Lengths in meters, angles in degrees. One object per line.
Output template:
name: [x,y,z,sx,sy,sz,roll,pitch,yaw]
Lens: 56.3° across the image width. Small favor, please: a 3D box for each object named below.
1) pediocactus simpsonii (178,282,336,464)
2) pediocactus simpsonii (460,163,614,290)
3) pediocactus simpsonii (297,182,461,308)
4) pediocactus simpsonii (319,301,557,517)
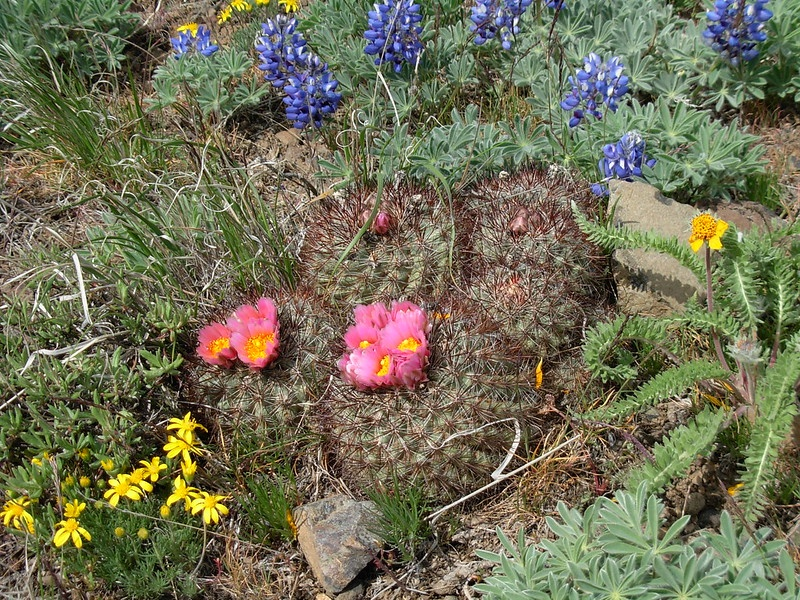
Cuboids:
pediocactus simpsonii: [-0.737,0.292,3.871,0.690,0.744,0.848,-6,101,-16]
pediocactus simpsonii: [0.694,-0.472,3.974,0.631,0.629,0.746,-14,108,-34]
pediocactus simpsonii: [-0.110,-0.423,4.193,0.816,0.856,0.545,-12,103,-13]
pediocactus simpsonii: [0.152,0.534,3.770,0.807,0.518,0.965,-39,87,-3]
